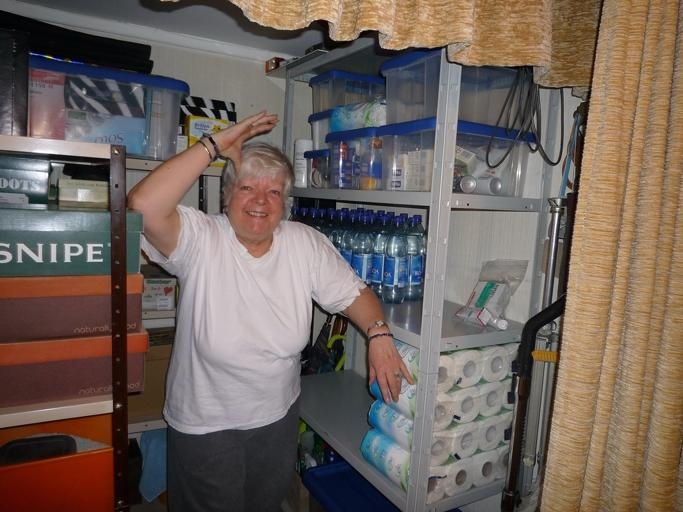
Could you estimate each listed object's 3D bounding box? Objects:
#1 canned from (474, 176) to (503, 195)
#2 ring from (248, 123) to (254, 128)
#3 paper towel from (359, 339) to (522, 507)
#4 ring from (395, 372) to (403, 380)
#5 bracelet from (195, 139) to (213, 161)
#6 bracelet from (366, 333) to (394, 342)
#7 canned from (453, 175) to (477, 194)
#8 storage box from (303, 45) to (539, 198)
[{"bbox_3d":[0.545,-0.260,1.960,0.087,0.091,0.063,8,21,-2],"label":"canned"},{"bbox_3d":[-0.334,-0.491,1.995,0.015,0.004,0.016,-17,1,0],"label":"ring"},{"bbox_3d":[0.388,0.589,2.233,0.724,0.704,0.519,-3,7,-28],"label":"paper towel"},{"bbox_3d":[0.213,0.441,1.961,0.034,0.015,0.046,0,9,2],"label":"ring"},{"bbox_3d":[-0.466,-0.370,1.878,0.018,0.069,0.066,-35,-33,1],"label":"bracelet"},{"bbox_3d":[0.152,0.300,1.990,0.094,0.037,0.063,0,8,1],"label":"bracelet"},{"bbox_3d":[0.453,-0.261,1.919,0.083,0.063,0.091,1,8,11],"label":"canned"},{"bbox_3d":[0.354,-0.510,2.186,0.499,0.372,0.752,-5,11,-34],"label":"storage box"}]
